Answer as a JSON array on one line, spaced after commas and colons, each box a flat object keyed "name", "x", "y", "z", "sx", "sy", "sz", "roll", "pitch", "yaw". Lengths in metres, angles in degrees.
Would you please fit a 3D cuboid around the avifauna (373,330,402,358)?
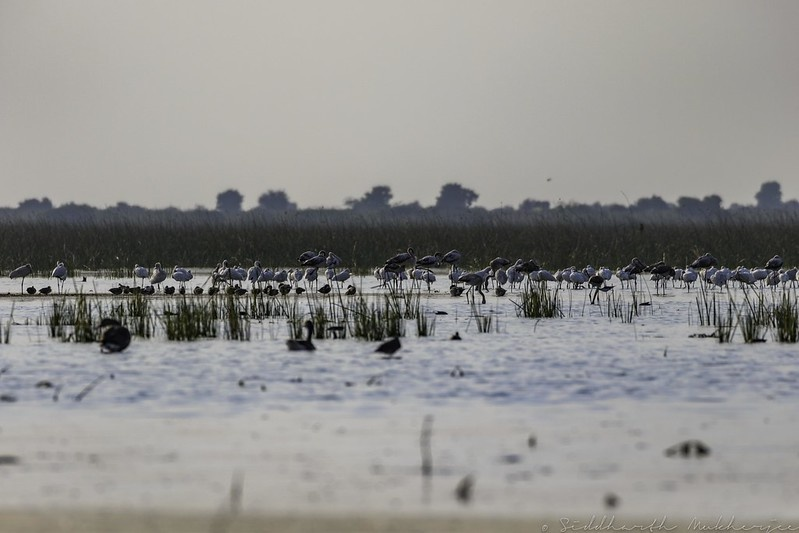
[{"name": "avifauna", "x": -0.185, "y": 1.289, "z": 23.114, "sx": 0.403, "sy": 0.335, "sz": 0.702, "roll": -3, "pitch": -6, "yaw": 12}]
